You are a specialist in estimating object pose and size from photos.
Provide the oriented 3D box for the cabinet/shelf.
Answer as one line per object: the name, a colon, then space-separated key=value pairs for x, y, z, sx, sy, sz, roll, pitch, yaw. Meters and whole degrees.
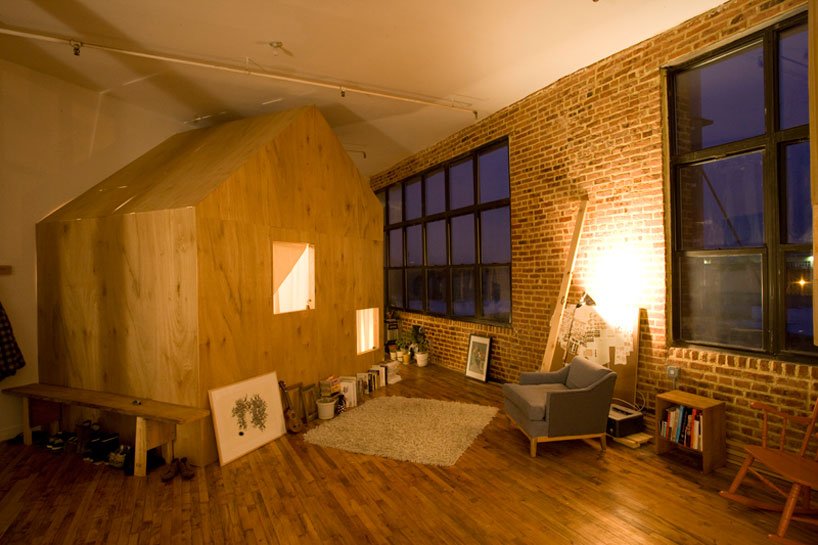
cabinet/shelf: x=3.519 y=1.980 z=7.023 sx=0.582 sy=1.118 sz=0.920 roll=2 pitch=-3 yaw=-29

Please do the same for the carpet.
carpet: x=-0.058 y=2.240 z=8.152 sx=2.355 sy=0.453 sz=1.758 roll=-1 pitch=-2 yaw=19

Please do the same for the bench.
bench: x=-3.900 y=2.056 z=7.428 sx=2.801 sy=0.964 sz=0.505 roll=-1 pitch=-1 yaw=20

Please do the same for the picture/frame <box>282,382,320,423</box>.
picture/frame: x=-1.634 y=1.925 z=8.319 sx=0.033 sy=0.420 sz=0.619 roll=-6 pitch=-4 yaw=22

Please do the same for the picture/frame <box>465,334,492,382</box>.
picture/frame: x=1.239 y=1.523 z=9.976 sx=0.063 sy=0.972 sz=0.779 roll=8 pitch=-6 yaw=-24

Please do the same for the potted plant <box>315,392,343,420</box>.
potted plant: x=-1.200 y=2.008 z=8.597 sx=0.361 sy=0.277 sz=0.352 roll=-2 pitch=2 yaw=-15

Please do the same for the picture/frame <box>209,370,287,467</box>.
picture/frame: x=-2.203 y=1.972 z=7.522 sx=0.079 sy=1.158 sz=1.228 roll=-20 pitch=-12 yaw=35

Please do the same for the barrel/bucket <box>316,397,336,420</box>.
barrel/bucket: x=-1.272 y=2.056 z=8.547 sx=0.278 sy=0.250 sz=0.279 roll=0 pitch=-3 yaw=0

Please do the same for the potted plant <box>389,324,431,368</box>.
potted plant: x=-0.031 y=1.471 z=11.458 sx=0.732 sy=0.633 sz=0.883 roll=-2 pitch=1 yaw=-5

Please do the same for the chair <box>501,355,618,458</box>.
chair: x=2.009 y=1.816 z=7.803 sx=1.289 sy=1.199 sz=1.162 roll=0 pitch=-1 yaw=-7
